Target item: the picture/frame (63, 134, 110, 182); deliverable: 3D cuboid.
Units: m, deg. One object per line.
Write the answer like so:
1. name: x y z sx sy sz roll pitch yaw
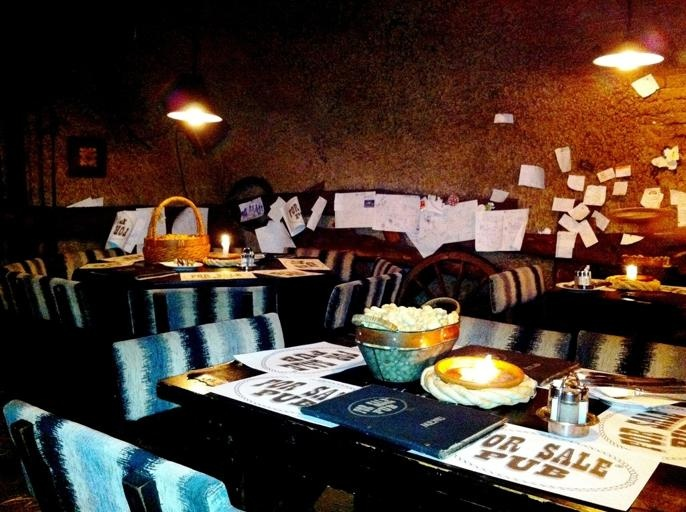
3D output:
1. picture/frame: -2.181 -0.870 4.256 0.425 0.333 0.096 1 7 -36

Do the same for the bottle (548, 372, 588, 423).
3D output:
1. bottle: 0.432 0.270 0.930 0.058 0.076 0.085 6 9 36

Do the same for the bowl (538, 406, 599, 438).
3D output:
1. bowl: 0.433 0.320 0.944 0.111 0.023 0.103 1 4 0

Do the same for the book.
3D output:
1. book: 0.112 0.312 0.947 0.313 0.027 0.201 5 8 36

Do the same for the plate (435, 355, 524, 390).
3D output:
1. plate: 0.300 0.260 1.091 0.120 0.022 0.104 1 7 9

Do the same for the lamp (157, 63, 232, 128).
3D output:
1. lamp: -1.015 -1.125 3.219 0.467 0.378 0.401 -6 17 -34

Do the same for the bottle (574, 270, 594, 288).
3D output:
1. bottle: 1.256 0.122 2.580 0.106 0.095 0.095 -3 9 -25
